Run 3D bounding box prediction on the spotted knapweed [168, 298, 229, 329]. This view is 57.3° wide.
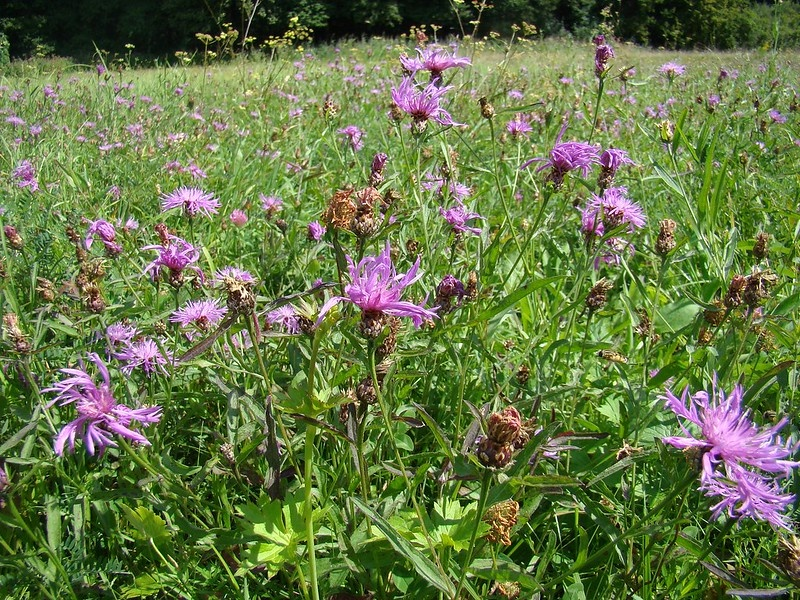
[{"bbox_3d":[-0.634,0.021,2.259,0.099,0.078,0.113,2,15,19],"label":"spotted knapweed"}]

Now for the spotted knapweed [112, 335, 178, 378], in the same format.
[{"bbox_3d":[-0.767,0.171,2.197,0.143,0.095,0.149,26,27,-3],"label":"spotted knapweed"}]

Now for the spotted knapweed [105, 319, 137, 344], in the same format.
[{"bbox_3d":[-0.872,0.105,2.278,0.087,0.064,0.092,-10,49,-37],"label":"spotted knapweed"}]
